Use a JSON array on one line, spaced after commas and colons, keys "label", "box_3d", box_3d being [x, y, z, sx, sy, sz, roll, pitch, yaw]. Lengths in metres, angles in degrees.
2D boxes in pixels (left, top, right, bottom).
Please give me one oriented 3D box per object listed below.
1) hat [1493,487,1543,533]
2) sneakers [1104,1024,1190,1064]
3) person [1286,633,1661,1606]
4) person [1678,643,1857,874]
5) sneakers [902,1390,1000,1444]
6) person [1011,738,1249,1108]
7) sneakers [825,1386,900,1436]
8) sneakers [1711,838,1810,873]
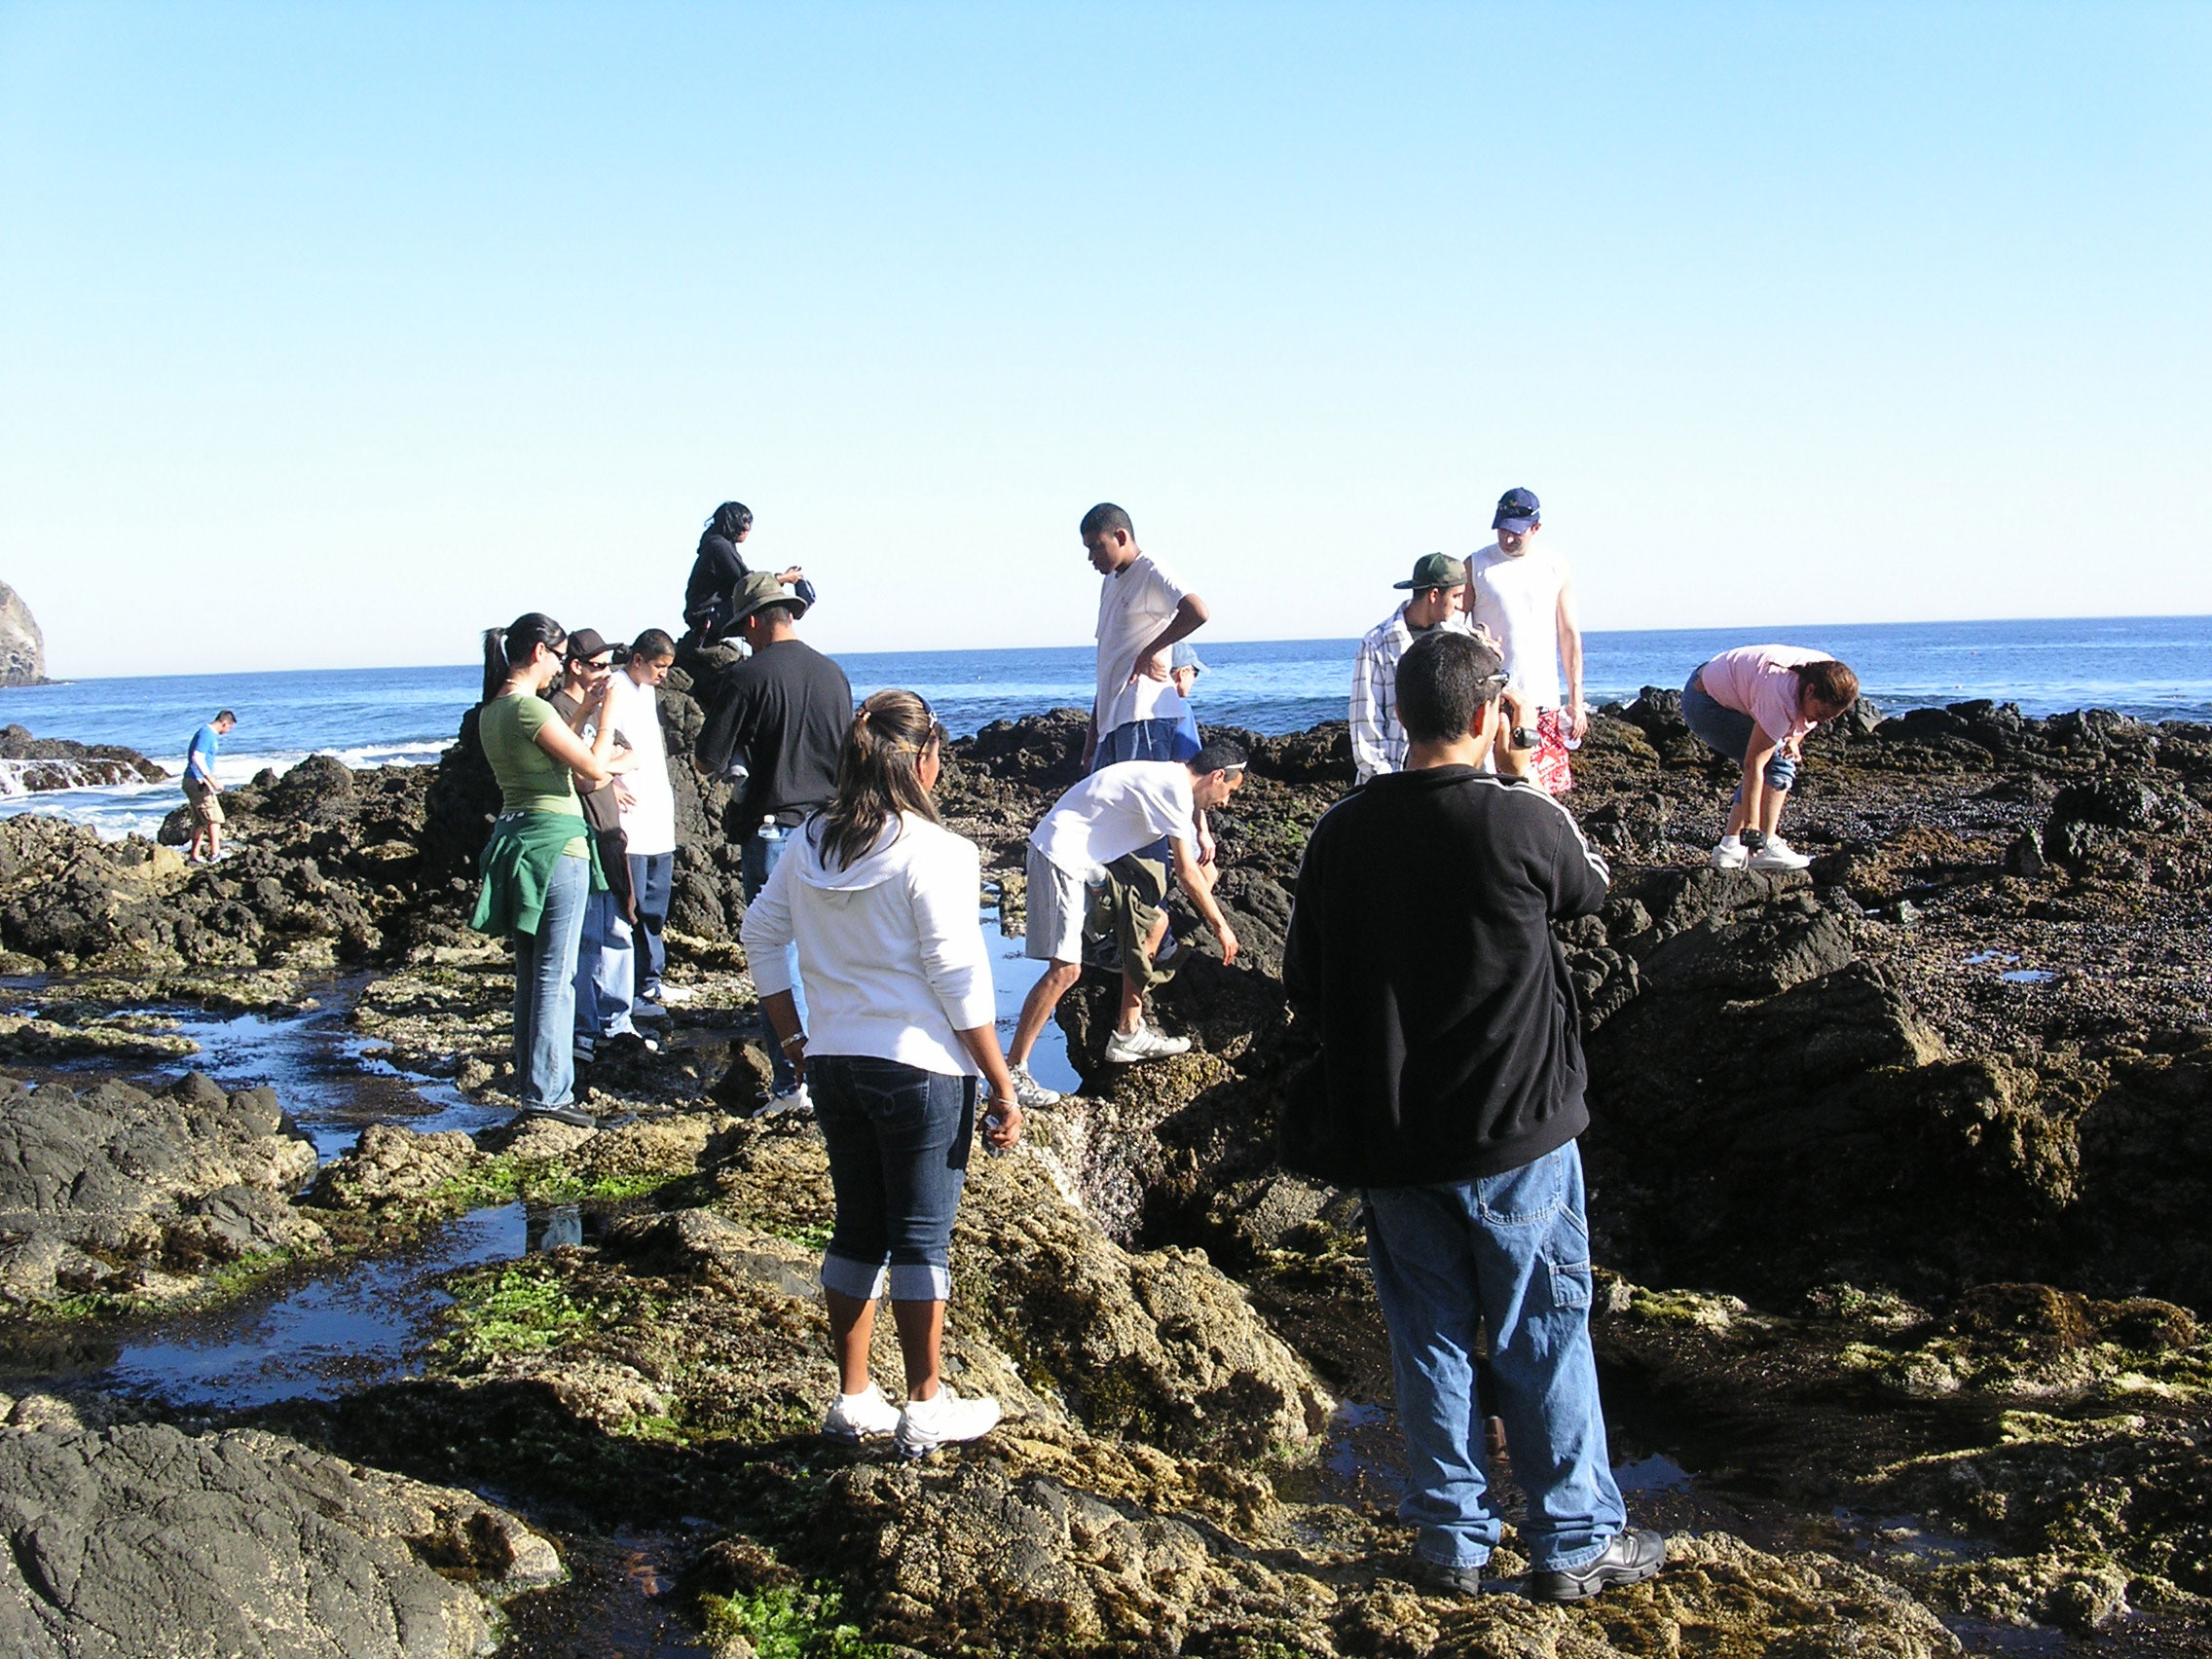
[{"label": "hat", "box_3d": [2.293, -1.760, 10.865, 0.191, 0.209, 0.371, 2, 6, 6]}, {"label": "sneakers", "box_3d": [0.199, 1.147, 10.488, 0.500, 0.186, 0.173, -2, 4, -18]}, {"label": "person", "box_3d": [1.056, 0.828, 5.709, 1.062, 2.771, 0.399, 2, 6, 5]}, {"label": "person", "box_3d": [4.286, -0.463, 12.883, 0.958, 1.454, 1.610, 3, 6, 15]}, {"label": "sneakers", "box_3d": [-0.482, 1.798, 6.066, 0.328, 0.146, 0.121, -5, 13, -29]}, {"label": "person", "box_3d": [0.152, 0.589, 10.581, 1.536, 2.092, 0.985, -2, 39, -13]}, {"label": "sneakers", "box_3d": [-0.748, 1.823, 6.146, 0.282, 0.118, 0.104, 2, -2, -28]}, {"label": "sneakers", "box_3d": [4.362, 0.188, 13.122, 0.671, 0.269, 0.237, 0, -1, 8]}]
